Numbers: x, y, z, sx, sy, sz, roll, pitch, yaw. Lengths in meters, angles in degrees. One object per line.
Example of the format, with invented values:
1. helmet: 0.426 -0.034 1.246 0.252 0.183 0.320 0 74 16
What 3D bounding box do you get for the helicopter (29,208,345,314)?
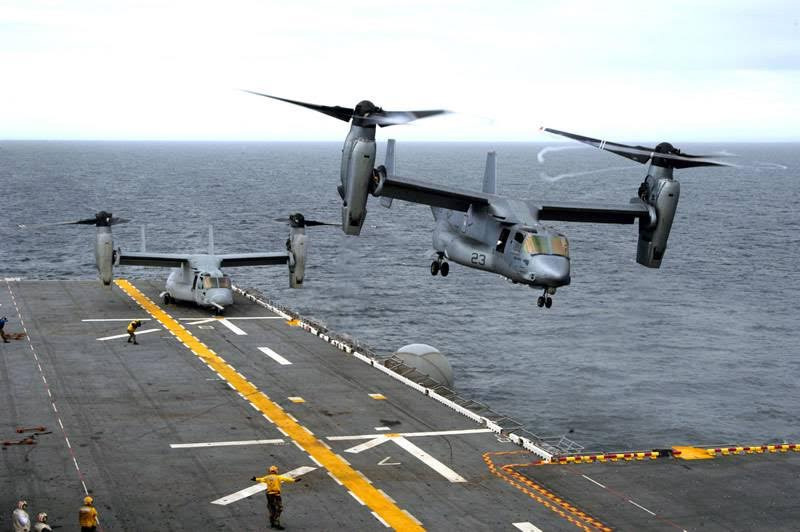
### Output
1. helicopter: -16.321 0.147 64.427 21.659 3.762 14.174 0 3 -23
